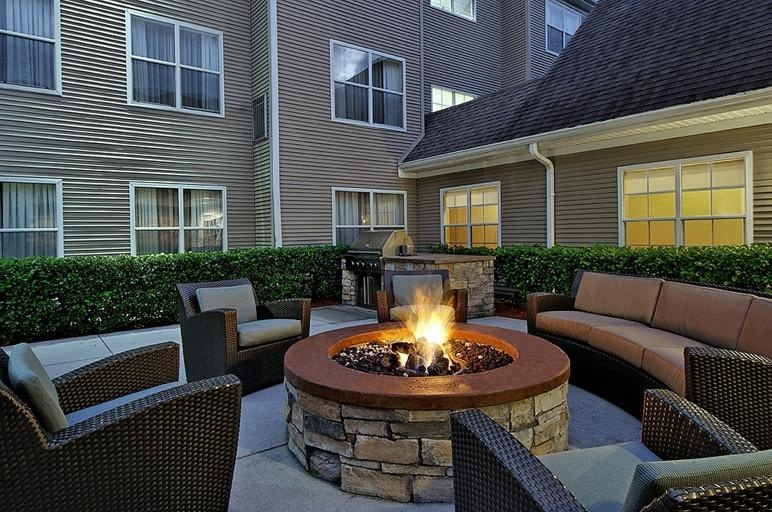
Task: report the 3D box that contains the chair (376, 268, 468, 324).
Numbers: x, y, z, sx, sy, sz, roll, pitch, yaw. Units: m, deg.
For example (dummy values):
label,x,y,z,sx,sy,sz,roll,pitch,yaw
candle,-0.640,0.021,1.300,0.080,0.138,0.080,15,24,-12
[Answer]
label,x,y,z,sx,sy,sz,roll,pitch,yaw
chair,0.471,0.668,6.383,1.206,0.737,0.824,-1,7,1

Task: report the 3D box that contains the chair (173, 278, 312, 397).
label,x,y,z,sx,sy,sz,roll,pitch,yaw
chair,-1.798,0.883,5.716,1.306,1.229,1.461,1,-3,-44
